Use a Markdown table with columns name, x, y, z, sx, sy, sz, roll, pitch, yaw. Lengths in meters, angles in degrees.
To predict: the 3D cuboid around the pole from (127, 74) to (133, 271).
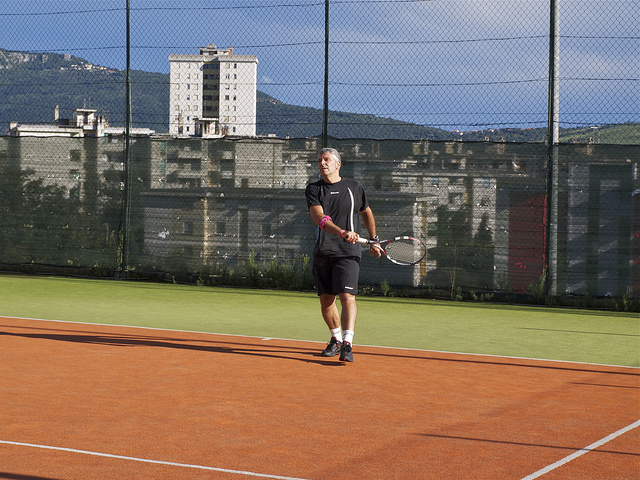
| name | x | y | z | sx | sy | sz | roll | pitch | yaw |
| --- | --- | --- | --- | --- | --- | --- | --- | --- | --- |
| pole | -3.375 | -1.108 | 16.506 | 0.095 | 3.275 | 0.417 | 0 | 6 | -13 |

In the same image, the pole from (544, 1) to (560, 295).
| name | x | y | z | sx | sy | sz | roll | pitch | yaw |
| --- | --- | --- | --- | --- | --- | --- | --- | --- | --- |
| pole | 3.613 | -1.420 | 14.507 | 0.194 | 4.513 | 0.593 | 2 | 6 | 7 |

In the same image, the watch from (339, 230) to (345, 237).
| name | x | y | z | sx | sy | sz | roll | pitch | yaw |
| --- | --- | --- | --- | --- | --- | --- | --- | --- | --- |
| watch | 0.225 | -0.060 | 9.758 | 0.068 | 0.053 | 0.071 | 0 | -3 | -1 |
